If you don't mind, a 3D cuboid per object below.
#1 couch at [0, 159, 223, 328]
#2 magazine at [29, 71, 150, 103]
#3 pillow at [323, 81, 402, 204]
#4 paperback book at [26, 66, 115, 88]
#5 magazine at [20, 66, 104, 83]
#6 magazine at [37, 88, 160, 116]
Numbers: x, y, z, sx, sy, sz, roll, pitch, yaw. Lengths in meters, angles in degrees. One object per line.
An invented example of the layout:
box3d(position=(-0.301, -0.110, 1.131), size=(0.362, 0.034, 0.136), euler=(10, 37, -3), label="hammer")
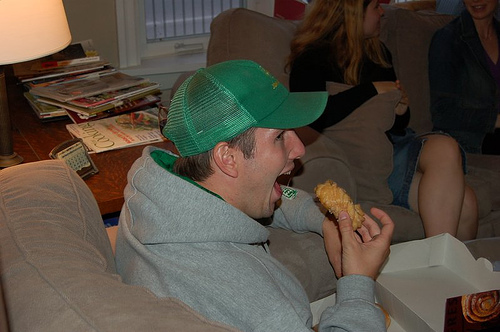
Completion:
box3d(position=(-0.382, 0.223, 0.974), size=(0.379, 0.225, 0.671), euler=(-1, 35, -32), label="couch")
box3d(position=(-0.846, -0.416, 1.963), size=(0.283, 0.031, 0.299), euler=(15, 28, 41), label="magazine")
box3d(position=(0.521, -0.115, 1.937), size=(0.320, 0.515, 0.392), euler=(0, 29, -5), label="pillow")
box3d(position=(-0.945, -0.456, 2.023), size=(0.483, 0.053, 0.278), euler=(-8, 11, -25), label="paperback book")
box3d(position=(-0.983, -0.478, 2.039), size=(0.474, 0.019, 0.079), euler=(-15, 10, -19), label="magazine")
box3d(position=(-0.830, -0.361, 1.896), size=(0.254, 0.020, 0.227), euler=(-20, 23, -31), label="magazine")
